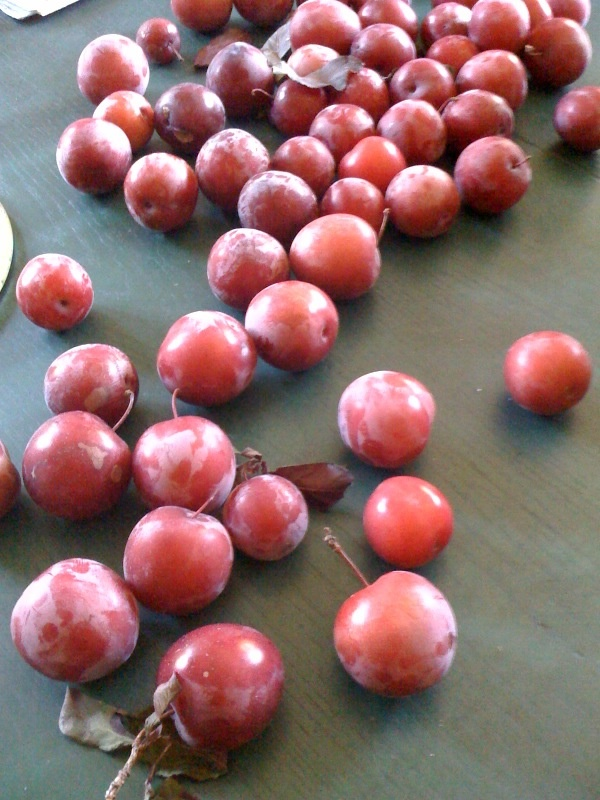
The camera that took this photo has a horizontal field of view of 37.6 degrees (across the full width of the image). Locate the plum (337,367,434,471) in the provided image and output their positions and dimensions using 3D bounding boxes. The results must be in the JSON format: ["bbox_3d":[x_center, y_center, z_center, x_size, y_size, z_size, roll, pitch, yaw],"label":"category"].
[{"bbox_3d":[0.084,0.015,0.873,0.091,0.107,0.097,1,7,-30],"label":"plum"}]

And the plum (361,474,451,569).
[{"bbox_3d":[0.095,0.109,0.795,0.076,0.048,0.071,38,62,26],"label":"plum"}]

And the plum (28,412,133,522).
[{"bbox_3d":[-0.201,0.059,0.847,0.095,0.095,0.095,-22,87,9],"label":"plum"}]

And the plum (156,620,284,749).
[{"bbox_3d":[-0.061,0.220,0.696,0.096,0.060,0.088,-23,55,-15],"label":"plum"}]

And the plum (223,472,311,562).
[{"bbox_3d":[-0.030,0.106,0.810,0.081,0.079,0.076,-4,24,8],"label":"plum"}]

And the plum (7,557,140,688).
[{"bbox_3d":[-0.180,0.171,0.755,0.101,0.098,0.099,13,94,43],"label":"plum"}]

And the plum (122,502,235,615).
[{"bbox_3d":[-0.107,0.145,0.776,0.095,0.097,0.101,7,94,3],"label":"plum"}]
